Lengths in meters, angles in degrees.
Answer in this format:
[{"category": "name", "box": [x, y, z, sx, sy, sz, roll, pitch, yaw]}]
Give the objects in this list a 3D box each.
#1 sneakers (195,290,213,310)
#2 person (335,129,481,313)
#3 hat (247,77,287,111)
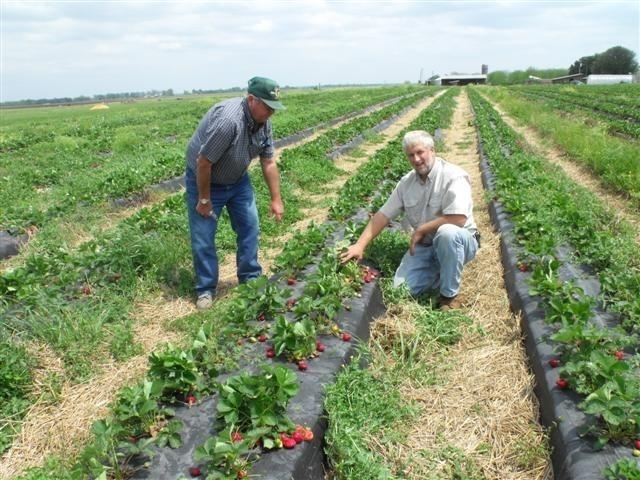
[{"category": "sneakers", "box": [-1.479, 0.765, 5.411, 0.143, 0.117, 0.271, 2, 0, -5]}, {"category": "person", "box": [1.284, -0.266, 5.264, 1.340, 2.085, 0.888, 4, 23, 19]}, {"category": "hat", "box": [-0.602, -1.638, 4.754, 0.398, 0.350, 0.406, -6, 21, -8]}]
